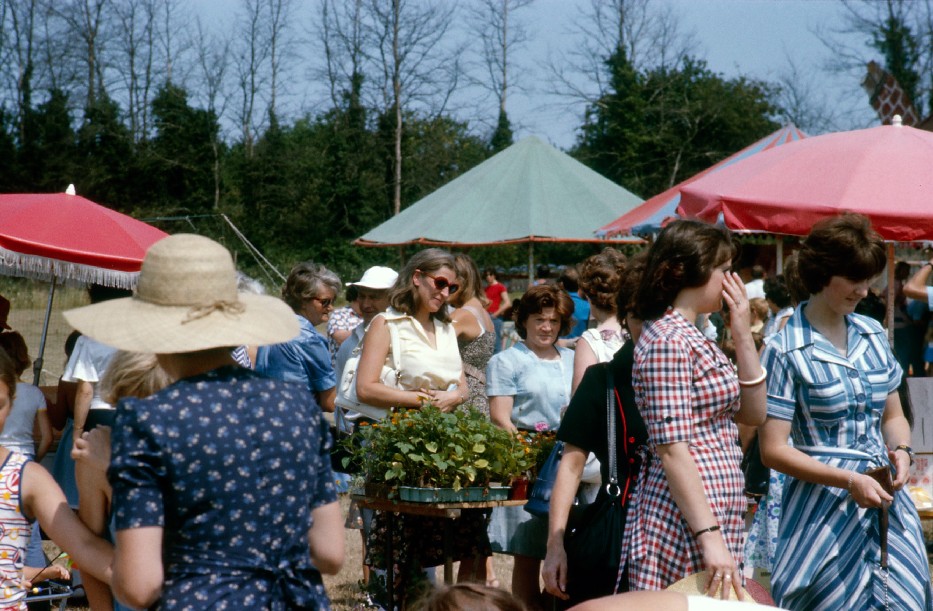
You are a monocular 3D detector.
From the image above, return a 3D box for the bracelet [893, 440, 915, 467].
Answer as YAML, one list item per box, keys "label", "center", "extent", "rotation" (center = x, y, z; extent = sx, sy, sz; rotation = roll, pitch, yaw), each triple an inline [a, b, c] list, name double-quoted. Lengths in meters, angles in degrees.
- label: "bracelet"
  center: [4.609, 1.568, 17.695]
  extent: [0.194, 0.284, 0.301]
  rotation: [-3, 13, 15]

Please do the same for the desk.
- label: "desk"
  center: [-0.388, 2.710, 19.124]
  extent: [1.503, 1.459, 1.534]
  rotation: [-4, -5, 41]

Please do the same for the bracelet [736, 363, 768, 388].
- label: "bracelet"
  center: [2.947, 0.748, 17.237]
  extent: [0.221, 0.059, 0.224]
  rotation: [-14, 13, 23]

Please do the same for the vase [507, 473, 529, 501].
- label: "vase"
  center: [0.584, 2.082, 18.977]
  extent: [0.254, 0.246, 0.274]
  rotation: [-1, 2, 2]

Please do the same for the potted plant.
- label: "potted plant"
  center: [-0.445, 1.708, 18.717]
  extent: [1.248, 0.597, 1.437]
  rotation: [0, -2, 36]

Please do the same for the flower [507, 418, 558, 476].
- label: "flower"
  center: [0.769, 1.643, 19.081]
  extent: [0.539, 0.537, 0.468]
  rotation: [4, -8, -13]
